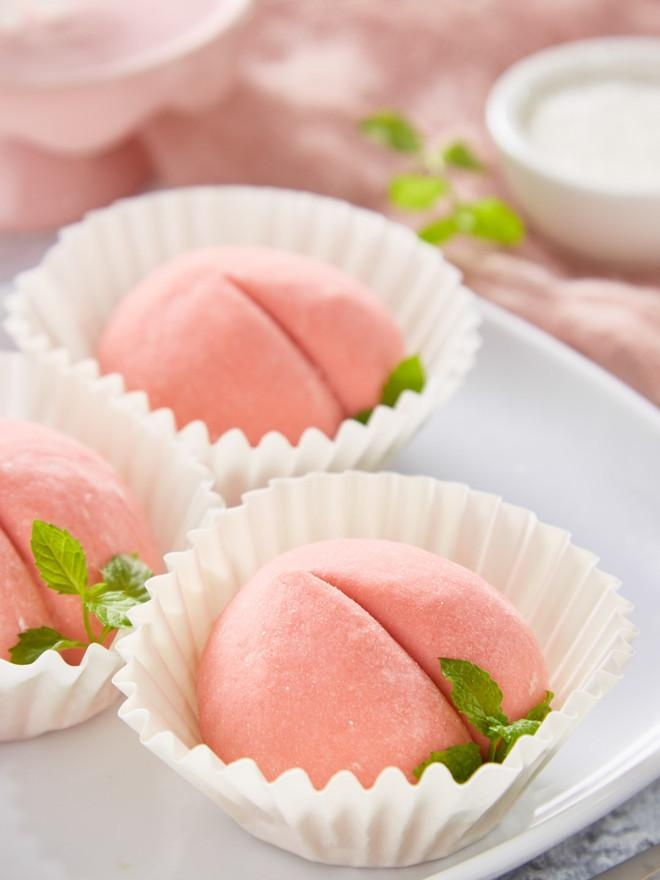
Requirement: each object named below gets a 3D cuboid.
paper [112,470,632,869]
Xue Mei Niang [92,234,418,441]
[{"bbox_3d":[0.025,0.158,0.851,0.418,0.131,0.369,-8,27,-29],"label":"paper"},{"bbox_3d":[-0.113,-0.124,1.190,0.336,0.160,0.315,-13,-4,42],"label":"Xue Mei Niang"}]
